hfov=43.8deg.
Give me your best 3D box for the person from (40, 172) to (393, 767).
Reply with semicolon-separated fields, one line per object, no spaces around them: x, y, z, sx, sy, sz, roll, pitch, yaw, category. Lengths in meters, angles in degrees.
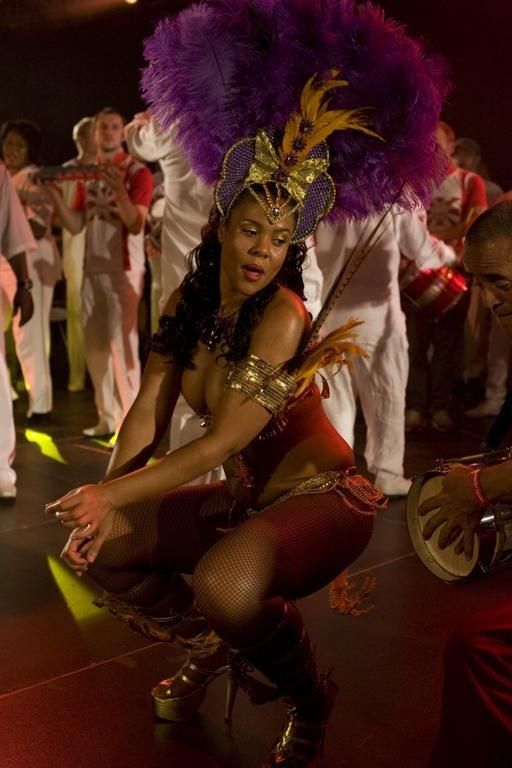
-0.200;0.090;1.994;1.090;1.663;0.978;-4;9;-34;person
